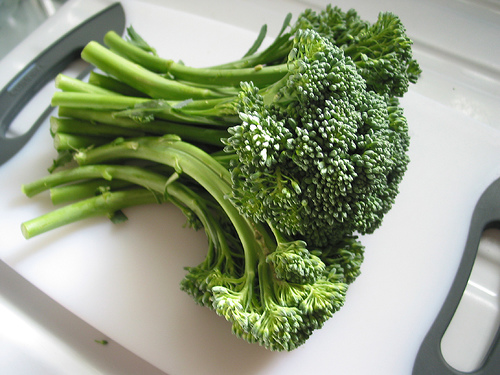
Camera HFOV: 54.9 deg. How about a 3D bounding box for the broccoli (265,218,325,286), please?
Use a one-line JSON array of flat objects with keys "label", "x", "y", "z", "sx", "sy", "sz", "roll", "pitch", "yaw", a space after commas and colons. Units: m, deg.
[{"label": "broccoli", "x": 0.092, "y": 0.182, "z": 1.370, "sx": 0.130, "sy": 0.114, "sz": 0.195, "roll": 25, "pitch": 3, "yaw": -44}]
